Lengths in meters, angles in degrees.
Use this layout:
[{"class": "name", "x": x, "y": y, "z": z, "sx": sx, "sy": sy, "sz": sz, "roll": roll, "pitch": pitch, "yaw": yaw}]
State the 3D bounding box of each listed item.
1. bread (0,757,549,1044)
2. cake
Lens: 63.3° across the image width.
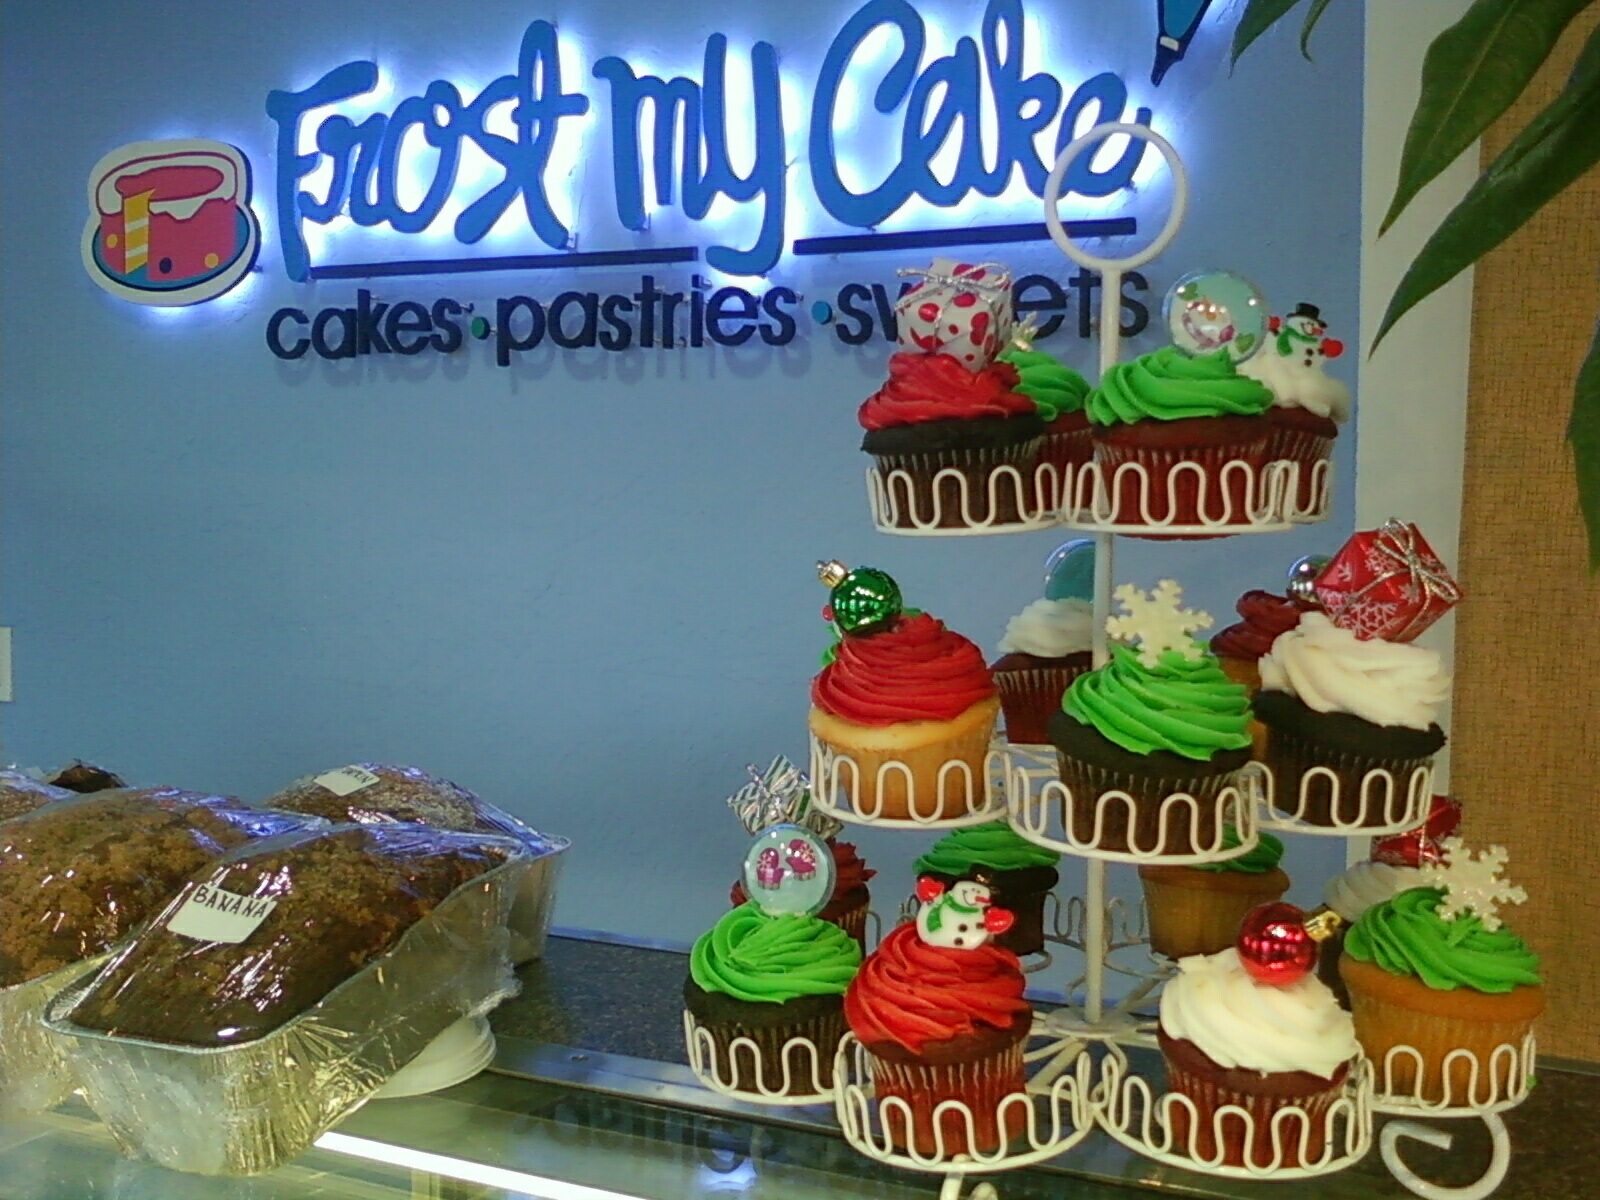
[{"class": "bread", "x": -0.510, "y": 0.337, "z": 1.501, "sx": 0.335, "sy": 0.149, "sz": 0.437, "roll": 4, "pitch": 2, "yaw": 30}, {"class": "cake", "x": 0.369, "y": 0.071, "z": 1.796, "sx": 0.986, "sy": 1.048, "sz": 0.991, "roll": 0, "pitch": -3, "yaw": -11}]
